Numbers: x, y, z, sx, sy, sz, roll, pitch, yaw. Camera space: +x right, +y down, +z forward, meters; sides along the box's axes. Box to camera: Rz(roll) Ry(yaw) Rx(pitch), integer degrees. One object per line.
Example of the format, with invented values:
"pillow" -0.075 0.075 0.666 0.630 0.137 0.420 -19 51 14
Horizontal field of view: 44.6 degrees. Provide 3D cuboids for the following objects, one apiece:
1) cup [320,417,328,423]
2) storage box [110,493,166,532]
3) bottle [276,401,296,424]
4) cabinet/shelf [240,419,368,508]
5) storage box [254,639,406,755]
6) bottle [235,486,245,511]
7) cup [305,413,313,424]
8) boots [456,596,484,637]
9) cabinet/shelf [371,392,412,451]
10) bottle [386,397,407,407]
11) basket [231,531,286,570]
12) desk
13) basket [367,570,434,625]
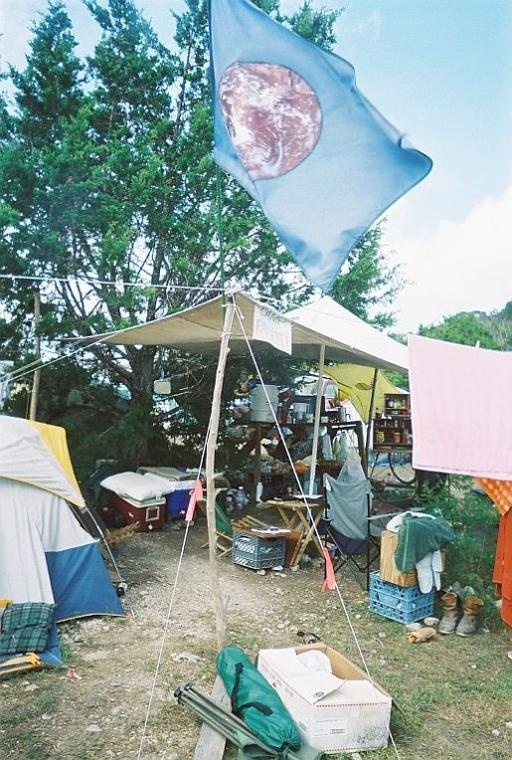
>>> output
"cup" 1.113 0.647 10.039 0.086 0.071 0.104 -4 -14 15
"storage box" -1.545 1.719 8.191 0.379 0.307 0.605 4 0 -39
"bottle" 0.434 0.547 9.925 0.278 0.486 0.270 -2 -8 0
"cabinet/shelf" 0.757 1.364 10.094 1.790 1.583 1.330 0 -1 -24
"storage box" 0.391 1.811 3.560 0.553 0.361 0.671 1 1 -27
"bottle" -0.226 1.796 9.499 0.161 0.287 0.357 2 1 5
"cup" 0.862 0.624 10.037 0.104 0.143 0.158 0 -9 1
"boots" 1.725 1.891 5.076 0.183 0.234 0.457 2 1 20
"cabinet/shelf" 1.871 0.533 8.564 0.521 0.673 0.361 0 5 13
"bottle" 1.953 0.318 8.774 0.270 0.142 0.171 3 -5 14
"basket" 0.030 1.754 6.523 0.430 0.308 0.424 17 -19 -37
"desk" 0.476 1.648 6.758 0.515 0.607 0.665 3 -9 -30
"basket" 1.241 1.862 5.346 0.548 0.256 0.546 2 -7 9
